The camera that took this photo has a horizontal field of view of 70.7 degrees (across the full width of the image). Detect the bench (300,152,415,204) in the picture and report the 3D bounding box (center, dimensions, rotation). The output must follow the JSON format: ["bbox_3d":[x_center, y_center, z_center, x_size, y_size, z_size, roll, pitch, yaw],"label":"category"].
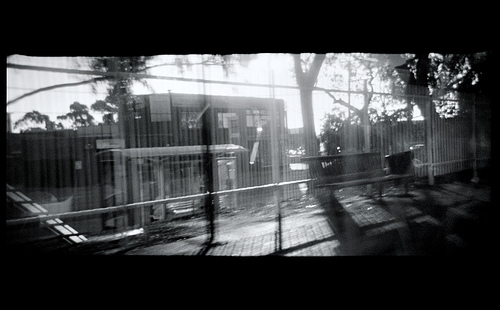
[{"bbox_3d":[2.121,0.424,6.834,2.123,0.823,0.693,-5,7,-26],"label":"bench"}]

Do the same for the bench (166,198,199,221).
[{"bbox_3d":[-1.241,0.976,6.320,0.666,0.333,0.163,-2,8,-16],"label":"bench"}]
